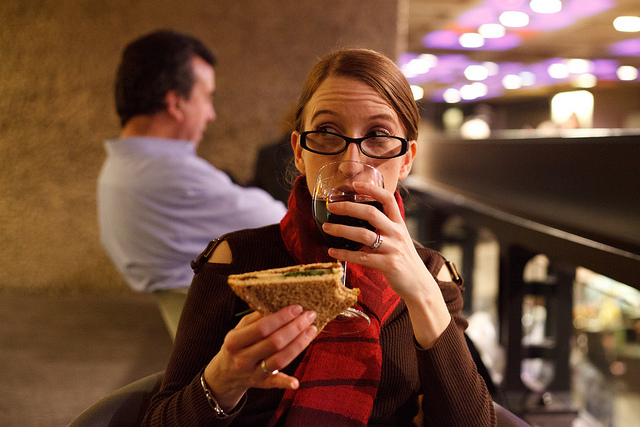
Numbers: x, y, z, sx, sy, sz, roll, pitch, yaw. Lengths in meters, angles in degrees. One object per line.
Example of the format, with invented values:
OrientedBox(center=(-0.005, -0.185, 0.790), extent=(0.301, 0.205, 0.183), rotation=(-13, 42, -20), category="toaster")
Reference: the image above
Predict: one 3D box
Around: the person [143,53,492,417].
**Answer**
OrientedBox(center=(0.017, 0.128, 2.002), extent=(1.245, 1.431, 0.639), rotation=(-10, 13, -19), category="person")

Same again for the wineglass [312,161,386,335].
OrientedBox(center=(0.060, 0.129, 1.986), extent=(0.312, 0.610, 0.308), rotation=(2, 10, 0), category="wineglass")

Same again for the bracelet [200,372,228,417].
OrientedBox(center=(-0.374, 0.633, 1.852), extent=(0.082, 0.149, 0.039), rotation=(6, 17, 42), category="bracelet")

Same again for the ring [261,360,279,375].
OrientedBox(center=(-0.163, 0.496, 1.728), extent=(0.012, 0.045, 0.046), rotation=(-8, 6, 41), category="ring")

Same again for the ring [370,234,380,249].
OrientedBox(center=(0.189, 0.097, 1.794), extent=(0.011, 0.034, 0.034), rotation=(21, 0, -4), category="ring")
